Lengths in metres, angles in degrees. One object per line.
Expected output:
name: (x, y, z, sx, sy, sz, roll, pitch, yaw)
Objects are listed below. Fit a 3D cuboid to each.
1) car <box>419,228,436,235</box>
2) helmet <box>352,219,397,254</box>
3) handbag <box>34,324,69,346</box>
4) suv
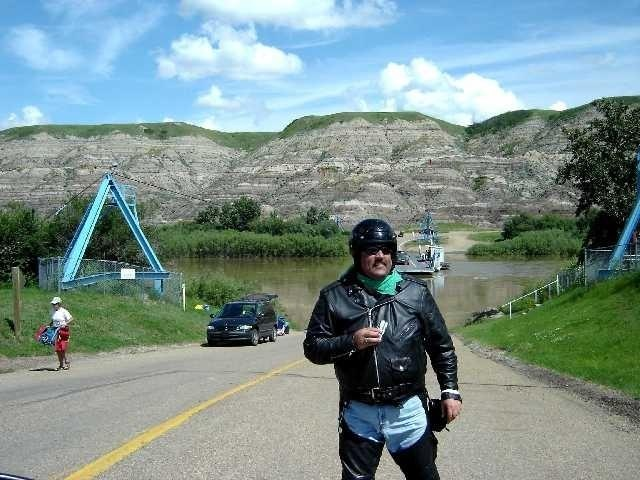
car: (23.242, -2.048, 135.843, 2.388, 1.253, 3.114, 0, -1, 25)
helmet: (0.541, -0.099, 6.484, 0.327, 0.342, 0.412, 5, -24, -18)
handbag: (-7.008, 2.407, 16.378, 0.505, 0.305, 0.723, -1, 0, 2)
suv: (-3.281, 3.290, 26.988, 2.048, 2.241, 5.325, -2, -6, 11)
